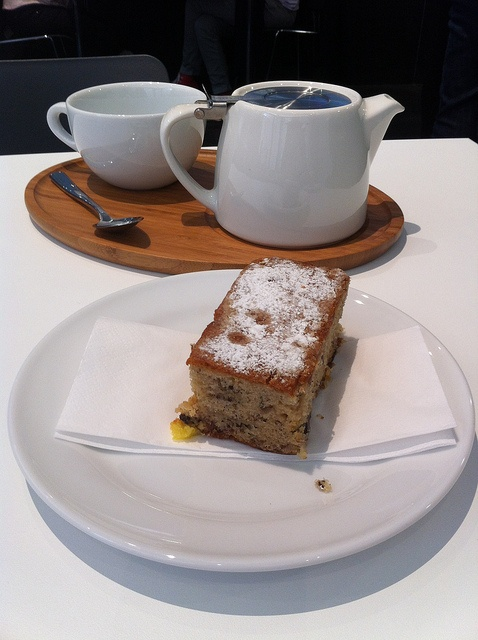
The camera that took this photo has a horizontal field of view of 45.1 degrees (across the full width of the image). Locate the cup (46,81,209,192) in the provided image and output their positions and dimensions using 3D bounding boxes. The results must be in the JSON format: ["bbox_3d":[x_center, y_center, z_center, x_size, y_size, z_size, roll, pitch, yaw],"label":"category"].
[{"bbox_3d":[-0.188,-0.315,1.093,0.308,0.137,0.234,6,34,9],"label":"cup"}]

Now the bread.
[{"bbox_3d":[0.035,0.030,0.662,0.143,0.095,0.230,16,41,14],"label":"bread"}]

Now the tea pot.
[{"bbox_3d":[0.066,-0.251,0.915,0.373,0.203,0.235,-2,35,-3],"label":"tea pot"}]
